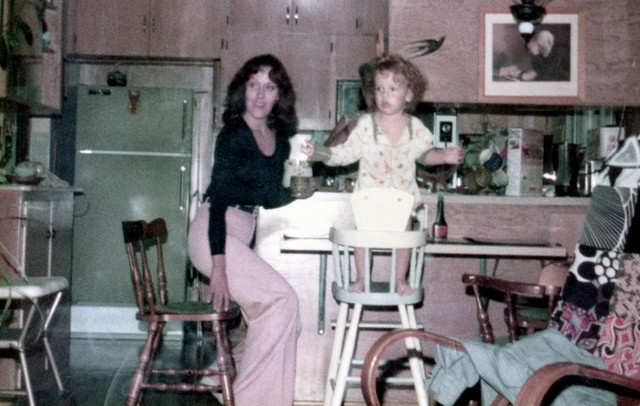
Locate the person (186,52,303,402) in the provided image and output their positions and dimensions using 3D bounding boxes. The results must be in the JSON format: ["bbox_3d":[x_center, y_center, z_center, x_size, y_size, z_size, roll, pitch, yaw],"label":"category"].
[{"bbox_3d":[-0.514,0.132,4.389,0.723,2.250,0.580,-1,5,-7],"label":"person"}]

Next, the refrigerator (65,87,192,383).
[{"bbox_3d":[-1.894,-0.081,6.492,1.176,2.650,1.155,2,26,-17],"label":"refrigerator"}]

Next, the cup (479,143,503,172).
[{"bbox_3d":[1.279,-0.333,4.937,0.186,0.197,0.119,16,13,13],"label":"cup"}]

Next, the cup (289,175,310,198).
[{"bbox_3d":[-0.133,-0.107,4.333,0.115,0.154,0.098,-3,6,-35],"label":"cup"}]

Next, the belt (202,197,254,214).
[{"bbox_3d":[-0.583,0.038,4.495,0.198,0.082,0.149,16,-4,42],"label":"belt"}]
